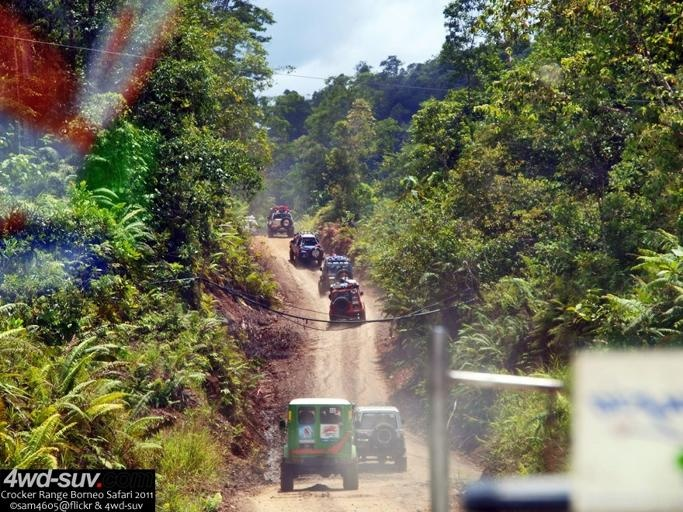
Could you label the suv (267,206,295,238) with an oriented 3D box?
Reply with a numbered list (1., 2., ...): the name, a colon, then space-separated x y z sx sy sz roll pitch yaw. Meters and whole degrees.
1. suv: -4.881 -2.824 65.056 1.458 1.790 3.196 0 8 -3
